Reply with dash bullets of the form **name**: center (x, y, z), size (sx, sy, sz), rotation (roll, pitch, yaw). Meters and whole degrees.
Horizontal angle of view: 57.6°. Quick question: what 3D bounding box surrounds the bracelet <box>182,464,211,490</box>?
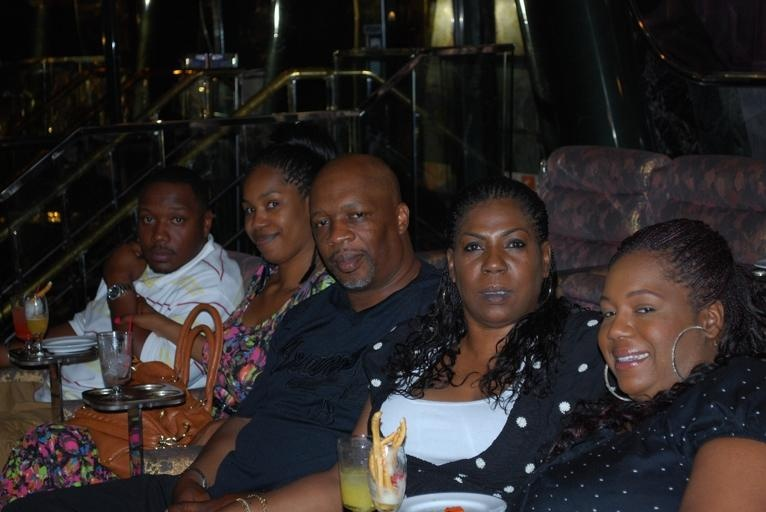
- **bracelet**: center (-0.862, 1.016, 3.202), size (0.112, 0.058, 0.084), rotation (44, -31, -25)

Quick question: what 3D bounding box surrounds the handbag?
- **handbag**: center (-1.166, 0.772, 3.595), size (0.788, 0.888, 0.752), rotation (-2, 6, -33)
